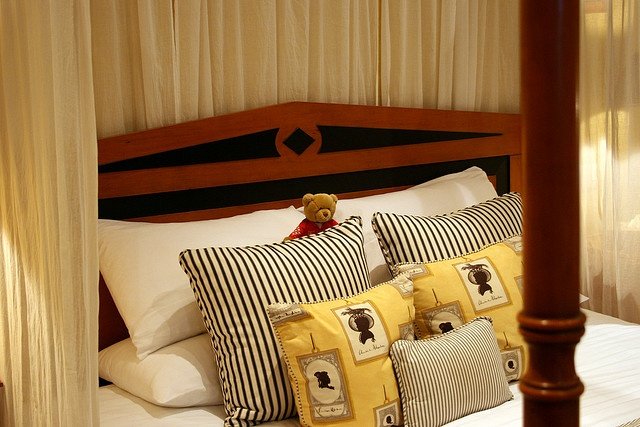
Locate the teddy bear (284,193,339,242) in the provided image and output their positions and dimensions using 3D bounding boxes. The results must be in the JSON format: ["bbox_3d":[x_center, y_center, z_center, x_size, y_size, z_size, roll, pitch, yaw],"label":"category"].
[{"bbox_3d":[-0.028,0.020,2.079,0.170,0.139,0.065,-11,15,-44],"label":"teddy bear"}]
